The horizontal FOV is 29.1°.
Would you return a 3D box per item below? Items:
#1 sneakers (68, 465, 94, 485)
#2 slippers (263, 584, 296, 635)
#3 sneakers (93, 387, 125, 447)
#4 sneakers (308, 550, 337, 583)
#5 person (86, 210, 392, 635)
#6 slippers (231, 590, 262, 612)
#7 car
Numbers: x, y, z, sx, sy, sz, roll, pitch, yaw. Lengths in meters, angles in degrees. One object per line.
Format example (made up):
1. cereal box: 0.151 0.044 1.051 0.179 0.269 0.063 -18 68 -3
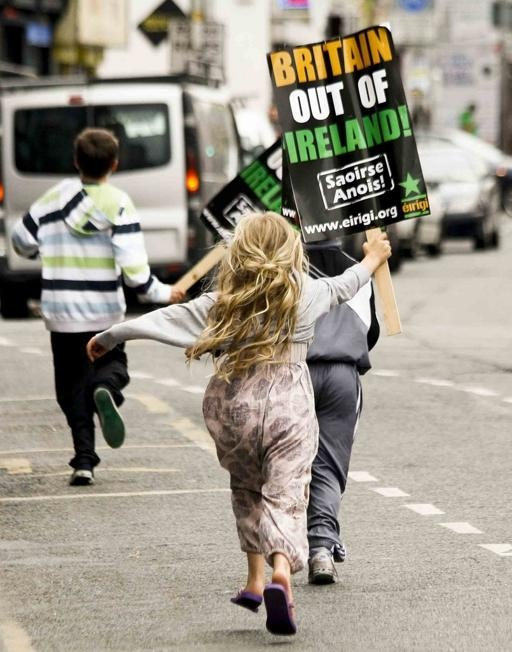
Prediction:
1. sneakers: -0.937 0.815 5.284 0.067 0.070 0.154 2 -13 -2
2. slippers: 0.063 0.749 2.595 0.077 0.187 0.057 1 33 12
3. sneakers: -0.720 0.456 4.788 0.126 0.320 0.140 -21 -7 4
4. sneakers: 0.224 0.860 3.485 0.065 0.074 0.158 0 1 4
5. person: -0.003 0.264 2.773 0.747 1.174 0.591 0 2 -3
6. slippers: -0.019 0.795 2.844 0.048 0.045 0.118 2 -3 -9
7. car: 3.884 -2.715 21.693 3.565 2.737 5.746 0 7 10
